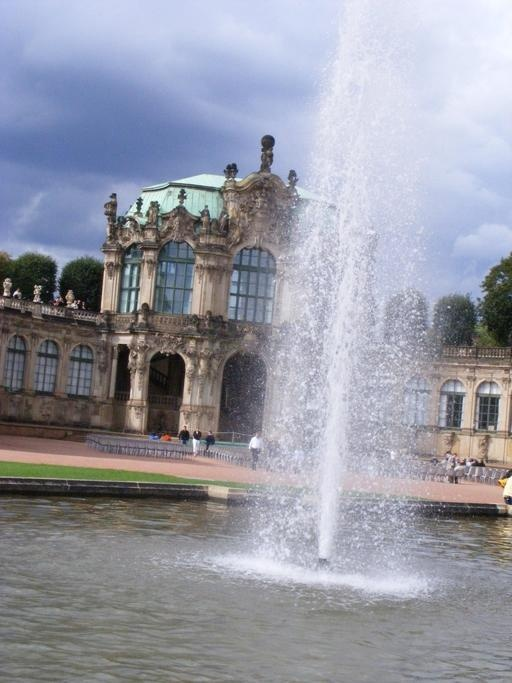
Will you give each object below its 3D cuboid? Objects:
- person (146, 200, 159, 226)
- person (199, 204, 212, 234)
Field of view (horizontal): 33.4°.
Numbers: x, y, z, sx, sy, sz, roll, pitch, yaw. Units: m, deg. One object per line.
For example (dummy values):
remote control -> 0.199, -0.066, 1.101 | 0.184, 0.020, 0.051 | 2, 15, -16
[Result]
person -> -6.482, -8.146, 54.444 | 0.709, 1.284, 0.696 | 9, -4, -10
person -> -3.145, -7.756, 54.351 | 0.650, 1.419, 1.016 | 9, -4, -14
